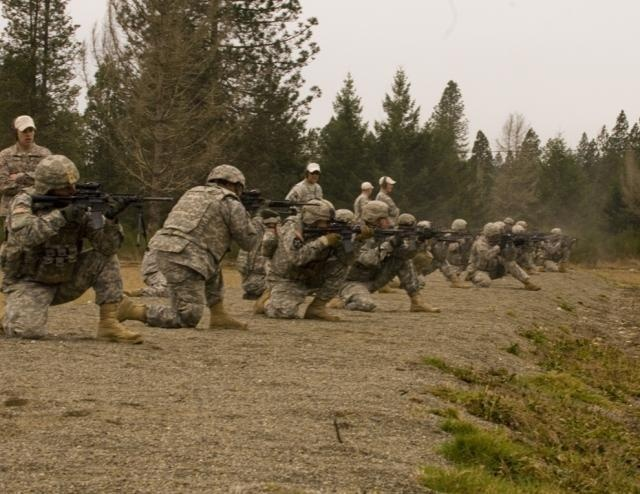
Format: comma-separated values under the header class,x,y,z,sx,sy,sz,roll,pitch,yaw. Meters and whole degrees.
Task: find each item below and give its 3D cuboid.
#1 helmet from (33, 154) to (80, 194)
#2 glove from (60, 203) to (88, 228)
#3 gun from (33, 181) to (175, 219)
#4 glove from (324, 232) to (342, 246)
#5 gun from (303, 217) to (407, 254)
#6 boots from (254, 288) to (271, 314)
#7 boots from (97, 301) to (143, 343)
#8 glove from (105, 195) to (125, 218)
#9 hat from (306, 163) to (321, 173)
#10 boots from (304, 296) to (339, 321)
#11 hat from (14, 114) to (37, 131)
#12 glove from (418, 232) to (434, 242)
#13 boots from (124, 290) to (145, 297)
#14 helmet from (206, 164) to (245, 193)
class,x,y,z,sx,sy,sz,roll,pitch,yaw
helmet,-3.004,-0.867,8.694,0.580,0.378,0.478,13,30,22
glove,-2.775,-0.362,8.560,0.264,0.283,0.380,9,10,-8
gun,-2.488,-0.526,8.700,0.181,0.498,1.790,13,12,41
glove,0.154,-0.116,10.952,0.309,0.214,0.177,9,10,-3
gun,0.565,-0.181,10.865,1.828,0.484,0.179,4,4,30
boots,-0.879,0.866,11.906,0.172,0.383,0.233,11,-21,48
boots,-2.464,0.929,9.074,0.611,0.476,0.268,13,-22,-40
glove,-2.286,-0.458,8.581,0.239,0.240,0.089,12,-3,15
hat,-0.135,-1.722,16.250,0.340,0.188,0.415,4,-7,-7
boots,0.064,0.958,11.528,0.559,0.338,0.395,10,10,7
hat,-4.286,-1.792,10.927,0.245,0.154,0.356,-2,-4,-42
glove,1.785,-0.194,12.944,0.160,0.187,0.545,-3,1,16
boots,-3.136,0.786,12.794,0.331,0.117,0.314,-3,4,-36
helmet,-1.209,-1.002,10.387,0.522,0.343,0.476,20,-12,-33
